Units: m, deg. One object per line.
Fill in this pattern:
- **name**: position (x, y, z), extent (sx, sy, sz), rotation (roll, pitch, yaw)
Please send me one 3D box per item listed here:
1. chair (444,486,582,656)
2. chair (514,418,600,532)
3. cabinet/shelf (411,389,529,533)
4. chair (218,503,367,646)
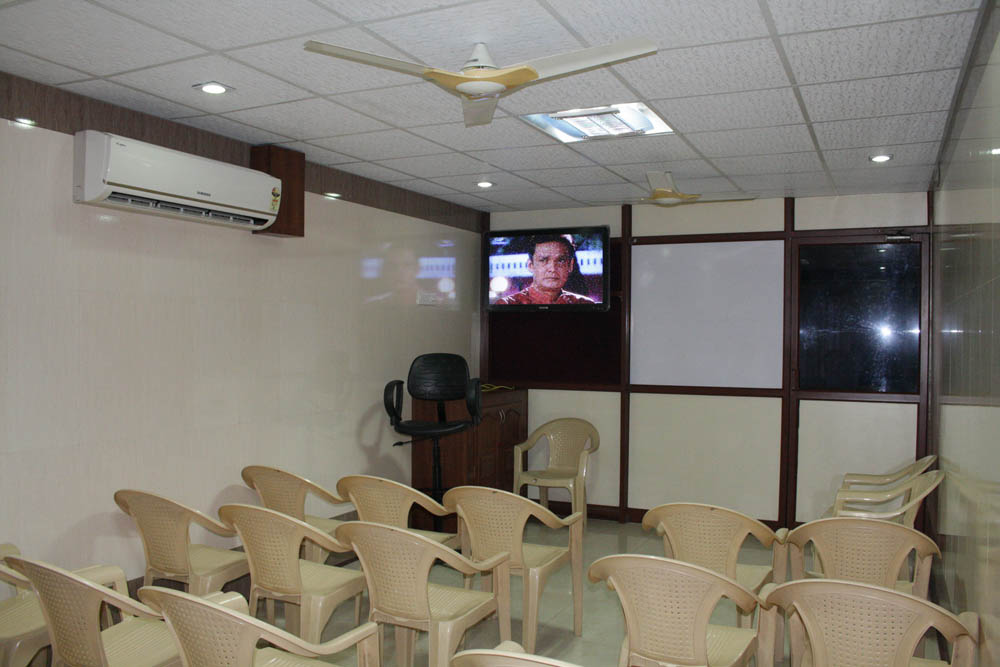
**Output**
- **chair**: position (0.103, 1.558, 4.921), extent (0.879, 1.004, 0.791), rotation (0, -6, 16)
- **chair**: position (0.581, 1.456, 7.347), extent (0.906, 1.032, 0.876), rotation (-1, -1, 5)
- **cabinet/shelf**: position (-0.316, 1.116, 6.301), extent (0.595, 1.440, 1.527), rotation (-2, -3, 25)
- **chair**: position (-1.222, 1.493, 4.374), extent (0.684, 0.897, 0.684), rotation (-20, -30, 31)
